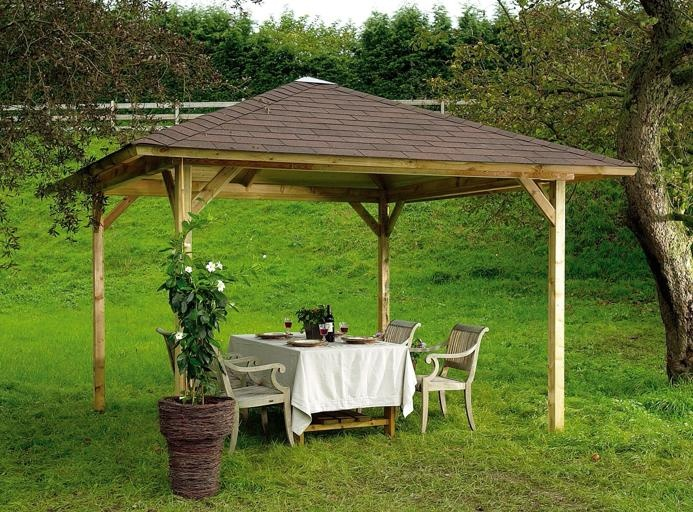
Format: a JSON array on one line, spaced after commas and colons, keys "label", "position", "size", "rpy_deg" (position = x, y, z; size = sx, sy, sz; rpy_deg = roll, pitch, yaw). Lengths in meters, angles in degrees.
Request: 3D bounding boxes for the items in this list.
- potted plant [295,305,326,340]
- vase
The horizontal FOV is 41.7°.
[{"label": "potted plant", "position": [-0.493, 0.994, 13.466], "size": [0.472, 0.492, 0.430], "rpy_deg": [3, -5, -42]}, {"label": "vase", "position": [-1.923, 2.292, 11.286], "size": [1.066, 1.258, 1.062], "rpy_deg": [1, 1, 26]}]
